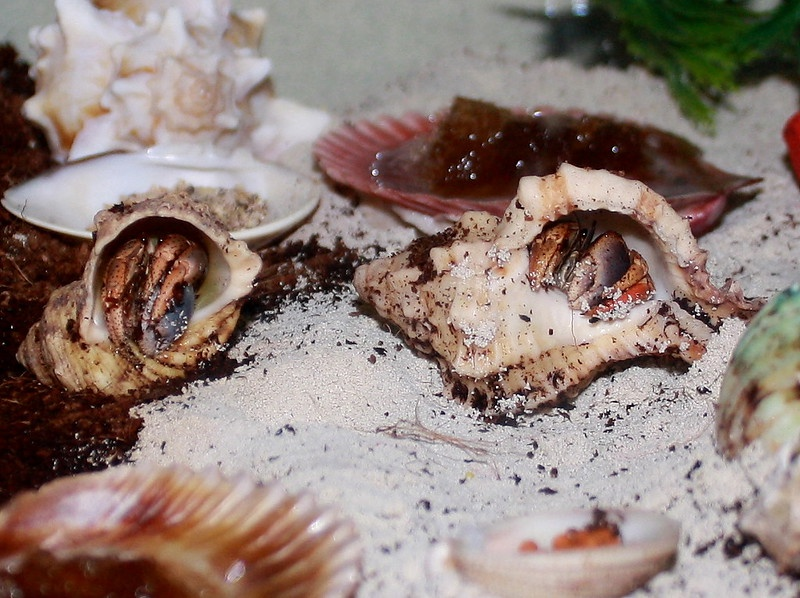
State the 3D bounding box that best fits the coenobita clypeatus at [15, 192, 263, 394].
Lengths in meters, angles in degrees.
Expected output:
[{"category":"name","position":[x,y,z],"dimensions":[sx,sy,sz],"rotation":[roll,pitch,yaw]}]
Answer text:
[{"category":"coenobita clypeatus","position":[-0.712,0.018,2.700],"dimensions":[0.449,0.285,0.632],"rotation":[35,76,6]}]
